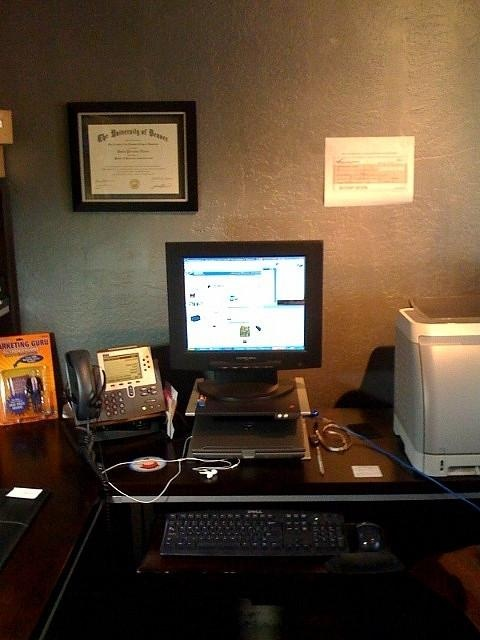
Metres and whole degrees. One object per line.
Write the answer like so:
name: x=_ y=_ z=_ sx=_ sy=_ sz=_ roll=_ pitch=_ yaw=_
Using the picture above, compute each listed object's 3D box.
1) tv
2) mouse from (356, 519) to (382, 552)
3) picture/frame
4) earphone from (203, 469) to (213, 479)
tv: x=0.012 y=-0.028 z=1.609 sx=0.448 sy=0.441 sz=0.241 roll=-1 pitch=13 yaw=-2
mouse: x=0.312 y=0.524 z=1.308 sx=0.050 sy=0.048 sz=0.048 roll=-11 pitch=-28 yaw=36
picture/frame: x=-0.332 y=-0.517 z=1.665 sx=0.321 sy=0.271 sz=0.027 roll=-1 pitch=12 yaw=-4
earphone: x=-0.077 y=0.374 z=1.320 sx=0.031 sy=0.008 sz=0.043 roll=1 pitch=12 yaw=3
